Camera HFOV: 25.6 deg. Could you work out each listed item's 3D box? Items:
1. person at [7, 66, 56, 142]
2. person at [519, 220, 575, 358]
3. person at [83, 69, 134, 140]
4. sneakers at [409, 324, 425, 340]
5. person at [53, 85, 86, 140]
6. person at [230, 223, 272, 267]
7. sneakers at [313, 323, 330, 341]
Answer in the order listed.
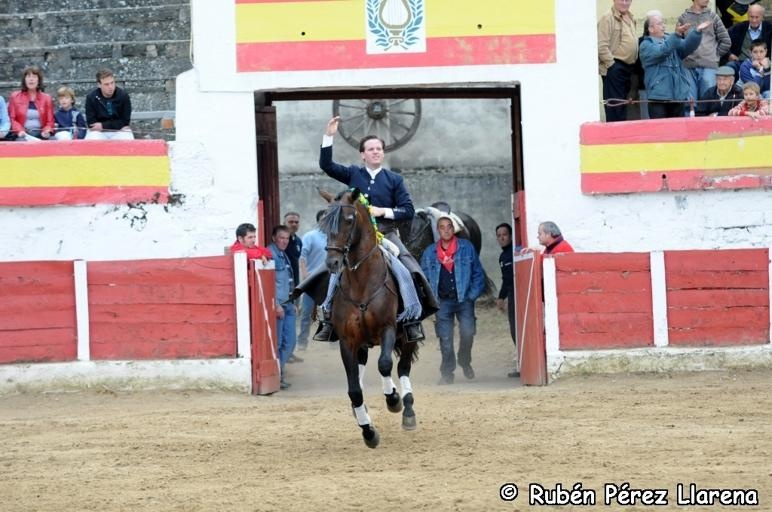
[{"bbox_3d":[-5.579,-2.385,26.581,0.707,1.117,0.639,-5,9,-11],"label":"person"},{"bbox_3d":[2.450,0.062,25.831,0.842,2.299,1.082,0,-3,4],"label":"person"},{"bbox_3d":[-4.405,-2.310,26.749,0.821,1.181,1.060,-8,20,-23],"label":"person"},{"bbox_3d":[0.404,1.030,23.755,0.244,0.260,0.210,-2,24,1],"label":"sneakers"},{"bbox_3d":[-5.014,-2.217,26.821,0.527,0.838,0.716,-8,19,-32],"label":"person"},{"bbox_3d":[-2.116,-0.192,25.947,0.489,0.609,0.771,-1,9,14],"label":"person"},{"bbox_3d":[-0.877,1.054,23.958,0.175,0.266,0.279,18,14,6],"label":"sneakers"}]
